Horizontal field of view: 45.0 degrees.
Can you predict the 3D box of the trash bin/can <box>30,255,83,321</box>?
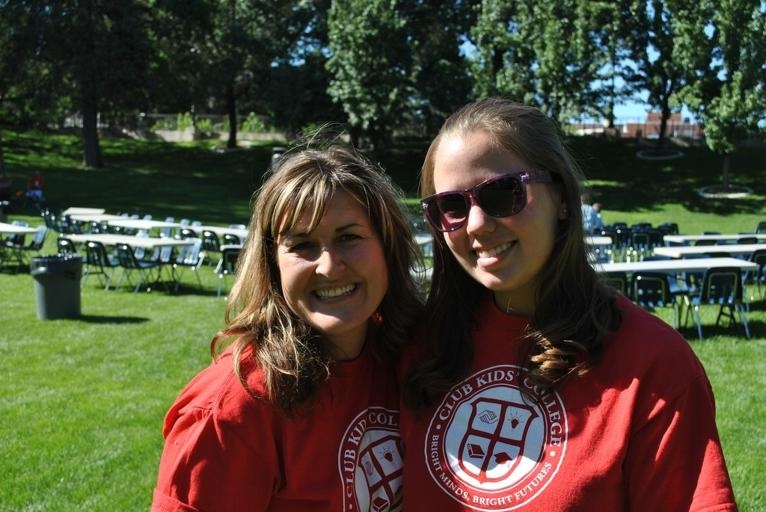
[{"bbox_3d":[-8.610,0.864,24.718,1.303,1.978,1.452,-1,-2,-29],"label":"trash bin/can"}]
